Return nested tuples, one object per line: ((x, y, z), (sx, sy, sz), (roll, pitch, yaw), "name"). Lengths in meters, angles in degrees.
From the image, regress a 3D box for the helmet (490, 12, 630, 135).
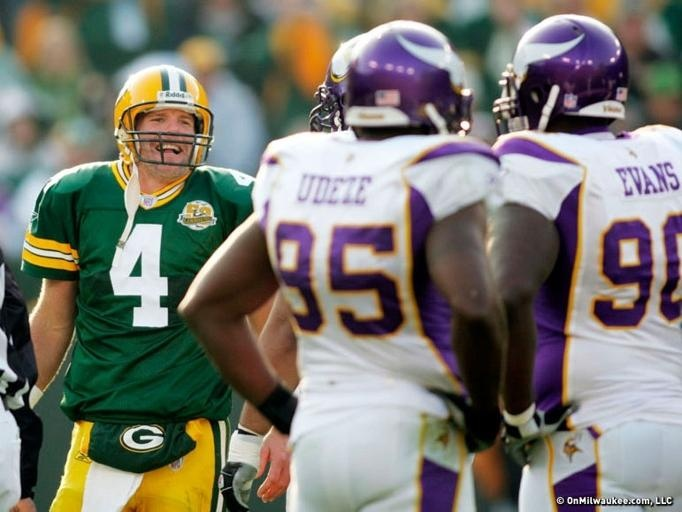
((0.871, -0.699, 3.868), (0.524, 0.437, 0.396), (3, 2, 23), "helmet")

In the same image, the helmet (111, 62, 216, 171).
((-0.832, -0.631, 4.653), (0.396, 0.411, 0.515), (3, -5, -13), "helmet")
